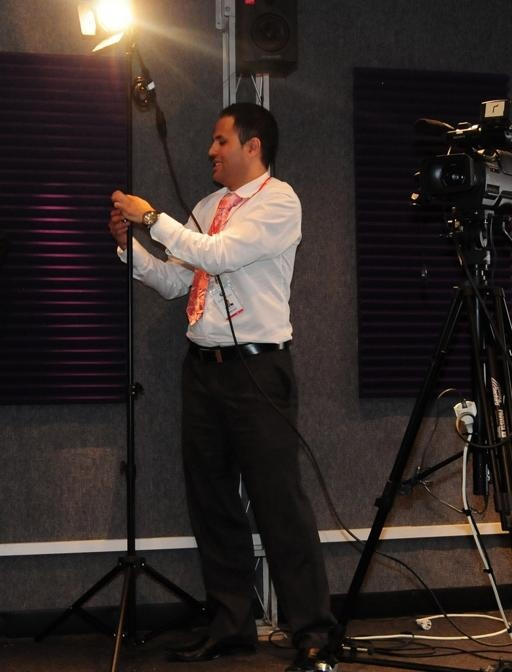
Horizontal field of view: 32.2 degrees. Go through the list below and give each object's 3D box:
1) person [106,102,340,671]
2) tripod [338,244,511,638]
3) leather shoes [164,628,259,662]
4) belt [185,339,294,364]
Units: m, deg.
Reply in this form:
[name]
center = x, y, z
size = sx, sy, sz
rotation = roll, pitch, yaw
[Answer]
[person]
center = -0.051, 0.145, 3.203
size = 0.916, 2.007, 0.552
rotation = 1, 5, 29
[tripod]
center = 0.486, 0.394, 2.909
size = 0.455, 1.117, 0.248
rotation = -2, 4, -3
[leather shoes]
center = -0.151, 1.091, 3.174
size = 0.338, 0.116, 0.108
rotation = 5, -7, -18
[belt]
center = -0.081, 0.058, 3.182
size = 0.379, 0.070, 0.164
rotation = -1, 3, 11
